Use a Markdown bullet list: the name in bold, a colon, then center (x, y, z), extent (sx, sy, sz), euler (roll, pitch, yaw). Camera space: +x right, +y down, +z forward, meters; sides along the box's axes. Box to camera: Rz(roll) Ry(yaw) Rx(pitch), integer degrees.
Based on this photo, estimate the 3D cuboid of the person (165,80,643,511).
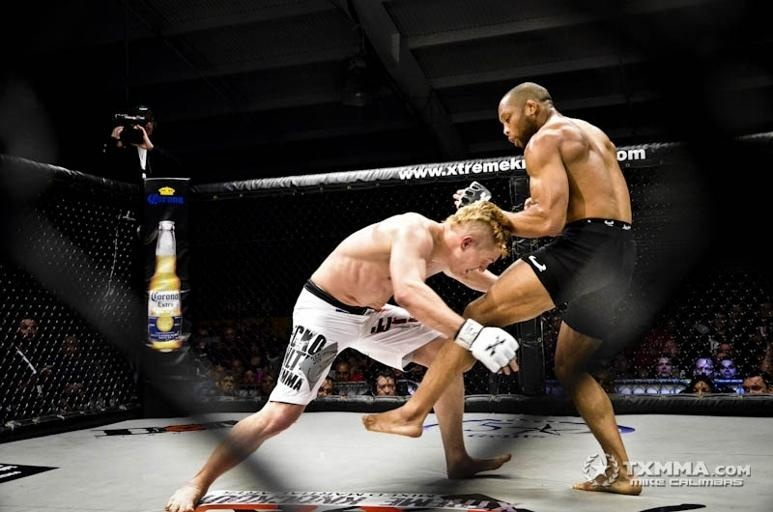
- **person**: center (0.743, 0.149, 3.574), extent (1.404, 2.431, 0.389), euler (-2, -1, -5)
